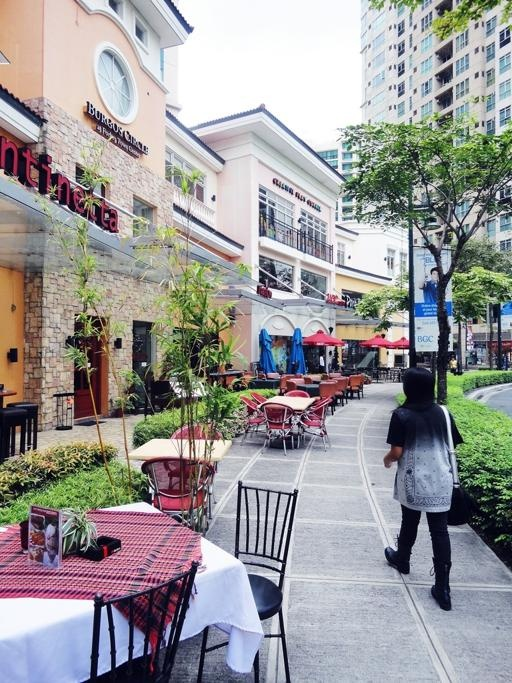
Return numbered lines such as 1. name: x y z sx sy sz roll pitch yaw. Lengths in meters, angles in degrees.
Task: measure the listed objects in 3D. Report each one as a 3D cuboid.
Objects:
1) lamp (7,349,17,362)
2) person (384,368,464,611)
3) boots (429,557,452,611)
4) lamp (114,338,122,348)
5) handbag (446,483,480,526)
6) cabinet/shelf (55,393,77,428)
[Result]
1. lamp: -4.221 0.236 9.670 0.089 0.255 0.294 -2 -2 0
2. person: 1.152 0.965 3.946 0.494 1.558 0.618 -3 -2 26
3. boots: 1.254 1.602 3.747 0.134 0.296 0.312 -2 0 9
4. lamp: -3.102 0.045 12.493 0.184 0.262 0.174 1 3 15
5. handbag: 1.463 1.148 3.940 0.143 0.327 0.423 -3 -3 33
6. cabinet/shelf: -3.615 1.330 10.471 0.310 0.617 0.471 -1 -2 -21
